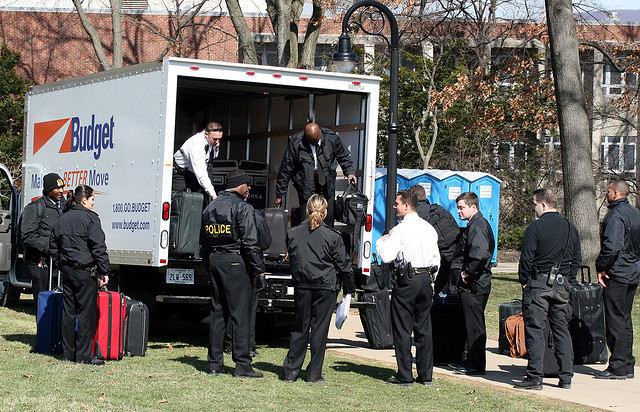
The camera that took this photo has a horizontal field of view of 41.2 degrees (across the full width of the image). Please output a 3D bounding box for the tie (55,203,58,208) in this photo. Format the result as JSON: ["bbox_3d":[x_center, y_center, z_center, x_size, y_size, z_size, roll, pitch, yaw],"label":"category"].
[{"bbox_3d":[-4.884,-0.010,15.826,0.025,0.084,0.099,-9,-10,42],"label":"tie"}]

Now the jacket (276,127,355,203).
[{"bbox_3d":[-0.071,-0.723,15.257,1.641,1.168,0.508,-7,24,-14],"label":"jacket"}]

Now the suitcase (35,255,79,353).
[{"bbox_3d":[-4.494,1.589,14.123,0.603,1.366,0.642,15,1,28],"label":"suitcase"}]

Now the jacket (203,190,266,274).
[{"bbox_3d":[-1.370,0.491,13.342,1.139,1.286,0.752,3,-1,34],"label":"jacket"}]

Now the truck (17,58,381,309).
[{"bbox_3d":[-2.677,-0.210,17.012,4.630,4.107,7.055,2,1,-39],"label":"truck"}]

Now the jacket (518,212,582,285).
[{"bbox_3d":[3.637,0.675,13.413,1.060,1.138,0.432,2,-2,-29],"label":"jacket"}]

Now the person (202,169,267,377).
[{"bbox_3d":[-1.326,1.046,13.136,0.974,3.204,0.436,1,-2,-2],"label":"person"}]

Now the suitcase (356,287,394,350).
[{"bbox_3d":[1.002,2.055,15.538,0.659,1.126,0.416,1,-2,1],"label":"suitcase"}]

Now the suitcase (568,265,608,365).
[{"bbox_3d":[4.509,2.019,14.376,0.935,1.382,0.361,2,-2,-30],"label":"suitcase"}]

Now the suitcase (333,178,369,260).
[{"bbox_3d":[0.543,0.265,14.751,0.568,1.552,1.525,4,-1,-10],"label":"suitcase"}]

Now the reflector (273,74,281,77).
[{"bbox_3d":[-0.751,-2.278,14.897,0.134,0.046,0.020,1,-2,-10],"label":"reflector"}]

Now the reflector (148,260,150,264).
[{"bbox_3d":[-2.874,0.941,14.372,0.053,0.052,0.057,2,-28,-3],"label":"reflector"}]

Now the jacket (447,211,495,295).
[{"bbox_3d":[2.469,0.810,14.165,0.880,1.527,1.735,5,-1,8],"label":"jacket"}]

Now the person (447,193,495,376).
[{"bbox_3d":[2.453,1.290,14.018,0.734,2.995,0.653,0,-2,23],"label":"person"}]

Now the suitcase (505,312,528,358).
[{"bbox_3d":[3.269,2.184,14.276,0.357,0.754,0.391,1,-2,11],"label":"suitcase"}]

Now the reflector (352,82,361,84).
[{"bbox_3d":[0.642,-2.202,15.259,0.130,0.032,0.006,2,-2,-17],"label":"reflector"}]

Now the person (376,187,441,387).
[{"bbox_3d":[1.390,1.278,13.272,0.904,3.054,0.372,1,-2,2],"label":"person"}]

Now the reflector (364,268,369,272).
[{"bbox_3d":[0.833,1.167,15.428,0.092,0.056,0.047,0,-3,-4],"label":"reflector"}]

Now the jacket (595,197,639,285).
[{"bbox_3d":[4.902,0.574,13.970,0.732,1.428,0.275,1,-2,-7],"label":"jacket"}]

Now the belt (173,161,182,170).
[{"bbox_3d":[-2.581,-0.736,15.470,0.165,0.147,0.061,0,-2,25],"label":"belt"}]

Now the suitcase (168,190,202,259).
[{"bbox_3d":[-2.292,0.300,14.562,0.536,1.051,0.207,2,-2,-10],"label":"suitcase"}]

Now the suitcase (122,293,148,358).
[{"bbox_3d":[-3.028,1.983,13.986,0.419,1.002,0.219,2,-2,-22],"label":"suitcase"}]

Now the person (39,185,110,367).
[{"bbox_3d":[-3.813,1.108,13.537,0.933,2.844,0.550,2,-2,-17],"label":"person"}]

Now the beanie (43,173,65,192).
[{"bbox_3d":[-4.899,-0.434,15.595,0.255,0.360,0.371,3,-3,-37],"label":"beanie"}]

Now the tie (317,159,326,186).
[{"bbox_3d":[0.026,-0.584,15.077,0.100,0.446,0.165,-1,-3,44],"label":"tie"}]

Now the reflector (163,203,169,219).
[{"bbox_3d":[-2.574,0.082,14.303,0.151,0.201,0.209,1,-2,-12],"label":"reflector"}]

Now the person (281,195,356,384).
[{"bbox_3d":[-0.049,1.296,13.125,1.031,2.892,0.321,1,-2,-4],"label":"person"}]
